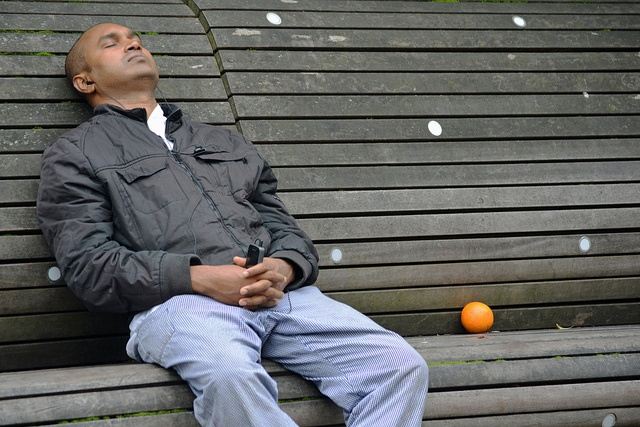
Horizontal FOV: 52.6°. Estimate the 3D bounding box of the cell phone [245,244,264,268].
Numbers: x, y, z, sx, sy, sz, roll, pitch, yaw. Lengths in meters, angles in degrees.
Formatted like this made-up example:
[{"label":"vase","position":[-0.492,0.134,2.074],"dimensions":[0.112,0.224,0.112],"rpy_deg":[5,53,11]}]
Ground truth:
[{"label":"cell phone","position":[-0.299,0.196,2.947],"dimensions":[0.067,0.119,0.042],"rpy_deg":[15,-13,13]}]
